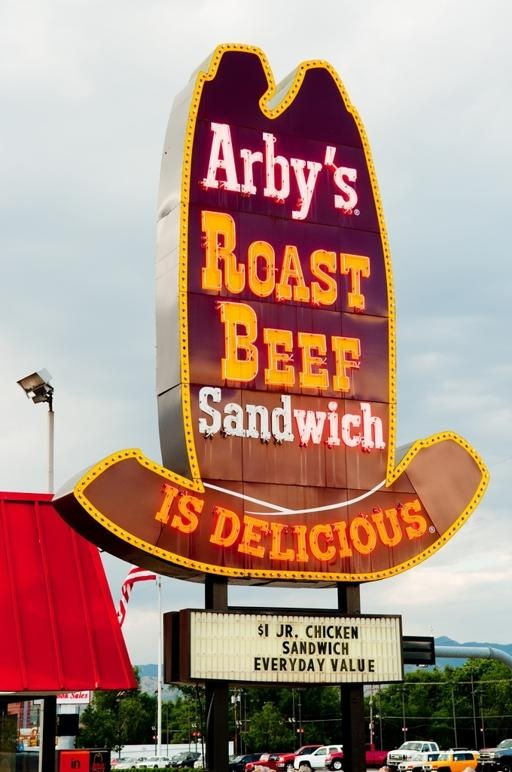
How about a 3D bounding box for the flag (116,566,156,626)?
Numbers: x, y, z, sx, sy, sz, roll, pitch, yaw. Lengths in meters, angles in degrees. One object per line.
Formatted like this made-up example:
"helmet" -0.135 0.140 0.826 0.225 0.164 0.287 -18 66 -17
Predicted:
"flag" -4.759 8.005 39.371 1.126 1.993 4.320 -1 -14 -7
